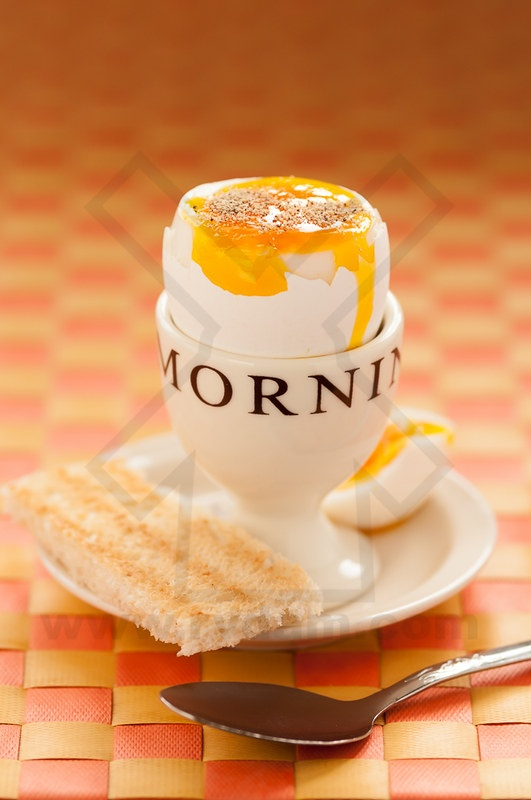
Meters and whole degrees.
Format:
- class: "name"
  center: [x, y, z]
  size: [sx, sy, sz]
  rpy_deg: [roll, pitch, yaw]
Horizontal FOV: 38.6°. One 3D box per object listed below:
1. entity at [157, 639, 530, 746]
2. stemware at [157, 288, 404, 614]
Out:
- class: "entity"
  center: [0.094, 0.209, 0.591]
  size: [0.345, 0.035, 0.078]
  rpy_deg: [2, 17, -22]
- class: "stemware"
  center: [0.043, 0.006, 0.793]
  size: [0.285, 0.323, 0.257]
  rpy_deg: [-4, 29, -5]
